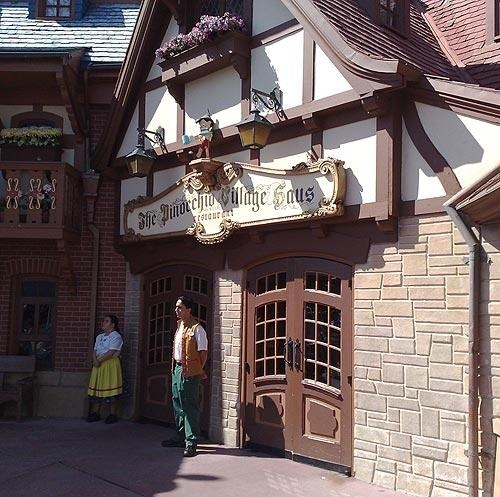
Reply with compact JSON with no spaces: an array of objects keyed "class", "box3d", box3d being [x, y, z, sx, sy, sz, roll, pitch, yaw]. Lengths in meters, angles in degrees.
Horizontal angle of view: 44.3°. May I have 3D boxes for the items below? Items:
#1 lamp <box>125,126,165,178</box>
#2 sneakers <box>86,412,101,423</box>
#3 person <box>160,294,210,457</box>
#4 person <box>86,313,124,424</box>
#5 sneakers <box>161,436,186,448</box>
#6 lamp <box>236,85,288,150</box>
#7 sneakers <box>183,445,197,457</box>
[{"class":"lamp","box3d":[-1.621,-1.535,9.554,0.596,0.857,0.875,-1,-1,23]},{"class":"sneakers","box3d":[-2.540,2.731,9.949,0.103,0.113,0.230,1,-13,2]},{"class":"person","box3d":[-0.828,1.669,8.166,0.357,2.037,0.644,0,-2,-32]},{"class":"person","box3d":[-2.369,1.954,10.031,0.552,1.716,0.492,-1,-1,-7]},{"class":"sneakers","box3d":[-1.040,2.648,8.433,0.318,0.165,0.132,4,-9,7]},{"class":"lamp","box3d":[0.077,-1.690,7.924,0.681,0.865,0.642,0,-2,-38]},{"class":"sneakers","box3d":[-0.779,2.610,7.990,0.180,0.133,0.253,-1,-1,-7]}]
